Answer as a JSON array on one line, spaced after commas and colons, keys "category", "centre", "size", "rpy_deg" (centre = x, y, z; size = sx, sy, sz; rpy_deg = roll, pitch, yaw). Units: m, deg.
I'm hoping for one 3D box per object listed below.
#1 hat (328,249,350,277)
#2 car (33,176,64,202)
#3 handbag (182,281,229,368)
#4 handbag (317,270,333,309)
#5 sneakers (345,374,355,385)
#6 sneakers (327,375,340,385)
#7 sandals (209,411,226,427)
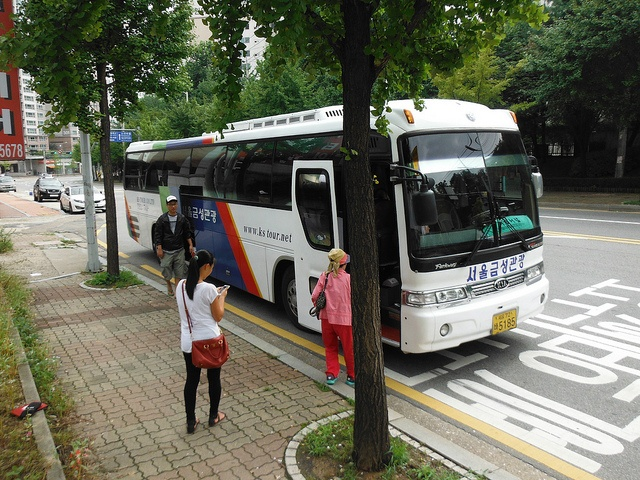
[{"category": "hat", "centre": [0.310, 0.306, 5.796], "size": [0.310, 0.455, 0.308], "rpy_deg": [-6, 10, -36]}, {"category": "car", "centre": [-24.816, -4.572, 39.001], "size": [2.205, 1.892, 3.008], "rpy_deg": [-11, 17, -34]}, {"category": "handbag", "centre": [-1.302, 1.058, 4.865], "size": [0.445, 0.921, 0.325], "rpy_deg": [-4, 14, -13]}, {"category": "handbag", "centre": [0.057, 0.718, 5.783], "size": [0.132, 0.496, 0.225], "rpy_deg": [10, 17, 39]}, {"category": "sneakers", "centre": [0.427, 1.937, 5.885], "size": [0.082, 0.097, 0.215], "rpy_deg": [4, 8, 29]}, {"category": "sneakers", "centre": [0.172, 1.929, 5.857], "size": [0.108, 0.117, 0.280], "rpy_deg": [-1, -3, 1]}, {"category": "sandals", "centre": [-1.223, 2.162, 5.112], "size": [0.078, 0.093, 0.215], "rpy_deg": [8, 20, 22]}]
